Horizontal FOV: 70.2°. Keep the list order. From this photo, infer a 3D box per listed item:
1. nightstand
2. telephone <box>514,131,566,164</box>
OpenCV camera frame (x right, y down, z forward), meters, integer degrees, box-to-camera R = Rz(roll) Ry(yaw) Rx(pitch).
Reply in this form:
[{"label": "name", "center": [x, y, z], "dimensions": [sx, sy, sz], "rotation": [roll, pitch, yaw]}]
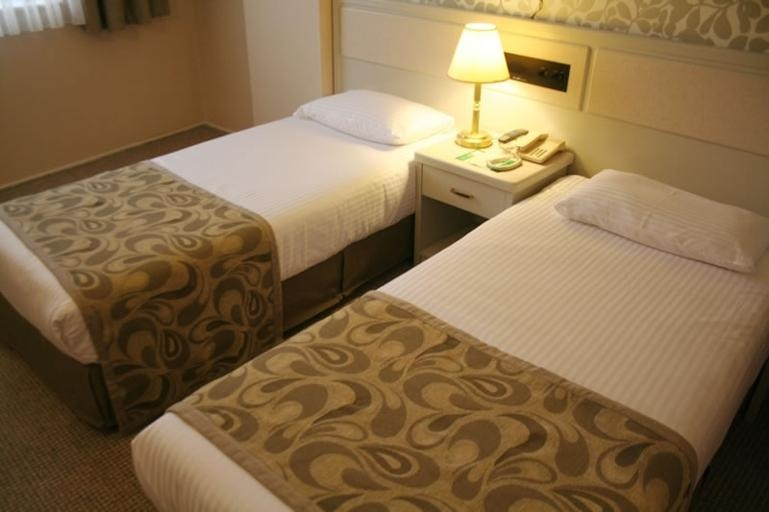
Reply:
[{"label": "nightstand", "center": [0.655, -0.261, 3.405], "dimensions": [0.658, 0.870, 0.819], "rotation": [-27, 39, -36]}, {"label": "telephone", "center": [0.898, -0.614, 3.085], "dimensions": [0.212, 0.089, 0.222], "rotation": [-36, 44, -22]}]
